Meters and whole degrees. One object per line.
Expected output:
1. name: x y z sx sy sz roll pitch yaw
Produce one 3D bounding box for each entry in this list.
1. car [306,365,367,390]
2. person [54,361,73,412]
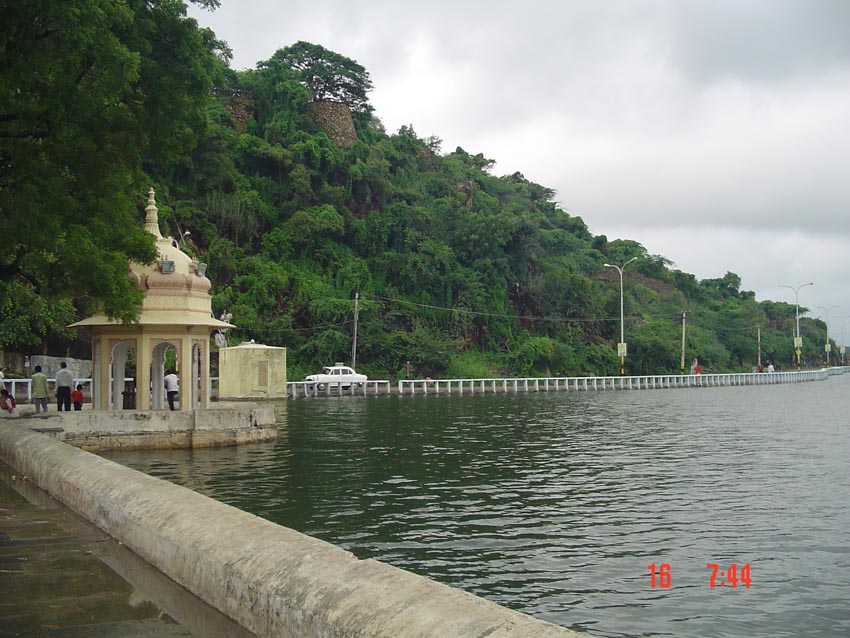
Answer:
1. car: -5.836 4.077 68.378 3.034 1.335 1.852 5 -8 -32
2. person: -11.934 2.395 34.091 0.496 1.375 2.206 1 1 -20
